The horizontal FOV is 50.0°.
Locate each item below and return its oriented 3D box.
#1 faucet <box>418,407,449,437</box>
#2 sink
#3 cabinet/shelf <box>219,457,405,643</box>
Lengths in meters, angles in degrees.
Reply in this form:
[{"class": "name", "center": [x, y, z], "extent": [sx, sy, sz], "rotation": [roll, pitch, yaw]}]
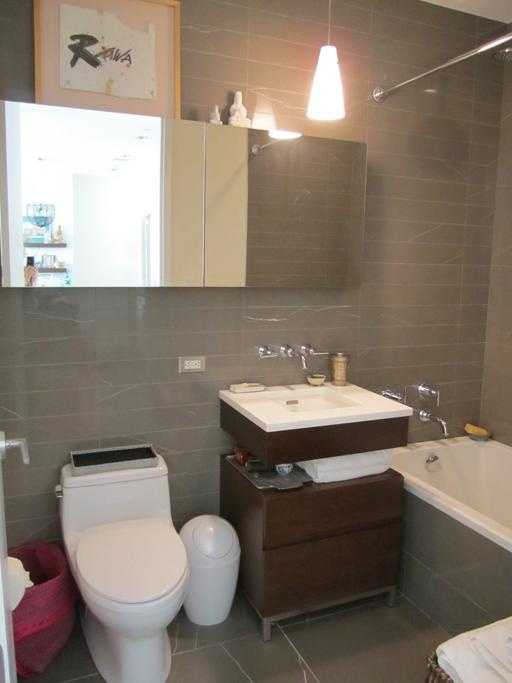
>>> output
[{"class": "faucet", "center": [0.951, 0.427, 2.840], "extent": [0.088, 0.110, 0.270], "rotation": [3, 12, -15]}, {"class": "sink", "center": [0.237, 0.358, 2.293], "extent": [0.655, 0.256, 0.565], "rotation": [-1, 6, -21]}, {"class": "cabinet/shelf", "center": [0.232, 0.719, 2.385], "extent": [0.758, 0.654, 0.568], "rotation": [-5, 15, -22]}]
